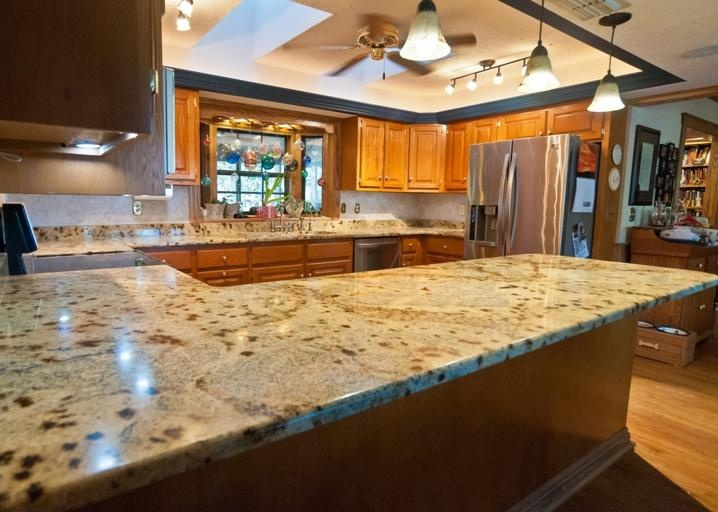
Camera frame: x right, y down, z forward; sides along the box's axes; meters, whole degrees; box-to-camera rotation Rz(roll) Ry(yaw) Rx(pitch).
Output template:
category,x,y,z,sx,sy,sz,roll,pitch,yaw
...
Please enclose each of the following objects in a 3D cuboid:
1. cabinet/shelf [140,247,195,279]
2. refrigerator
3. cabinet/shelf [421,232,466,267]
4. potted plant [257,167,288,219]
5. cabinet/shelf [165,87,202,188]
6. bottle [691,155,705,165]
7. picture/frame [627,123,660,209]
category,x,y,z,sx,sy,sz,roll,pitch,yaw
cabinet/shelf,-1.438,0.051,3.414,0.381,0.241,0.084,-9,12,-44
refrigerator,1.490,-0.499,4.128,1.042,1.114,0.464,7,12,41
cabinet/shelf,0.910,-0.067,4.948,0.326,0.451,0.483,-2,6,-28
potted plant,-0.926,-0.663,4.844,0.281,0.497,0.604,-2,9,-7
cabinet/shelf,-1.456,-1.014,3.788,0.277,0.796,0.102,-7,12,-36
bottle,4.457,-1.270,5.926,0.114,0.109,0.062,21,10,-3
picture/frame,2.750,-0.906,4.384,0.056,0.939,0.880,5,5,42
